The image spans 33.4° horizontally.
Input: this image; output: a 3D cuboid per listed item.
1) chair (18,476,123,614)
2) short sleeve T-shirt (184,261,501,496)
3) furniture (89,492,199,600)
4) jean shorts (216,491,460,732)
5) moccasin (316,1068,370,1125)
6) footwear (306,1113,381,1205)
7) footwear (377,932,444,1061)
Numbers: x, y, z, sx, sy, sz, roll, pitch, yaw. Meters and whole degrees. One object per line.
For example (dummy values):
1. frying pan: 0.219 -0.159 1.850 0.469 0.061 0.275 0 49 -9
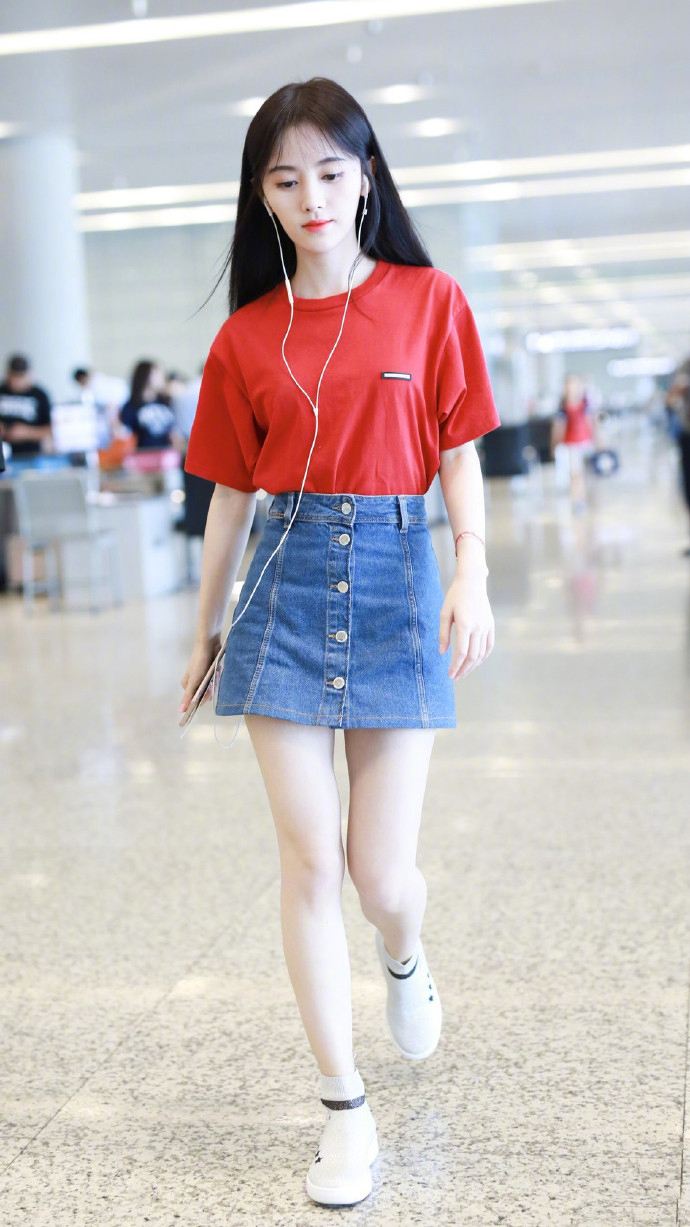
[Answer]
1. chair: -1.874 -0.504 7.808 0.632 0.949 1.074 -4 5 -12
2. short sleeve T-shirt: -0.010 -0.284 1.465 0.397 0.322 0.160 -5 2 8
3. furniture: -1.438 -0.450 8.389 0.600 0.777 1.139 -2 -1 10
4. jean shorts: -0.008 0.002 1.413 0.302 0.298 0.171 4 0 5
5. moccasin: 0.003 0.606 1.468 0.048 0.075 0.076 -17 -6 3
6. footwear: -0.002 0.663 1.402 0.052 0.056 0.129 -2 -2 8
7. footwear: 0.110 0.580 1.718 0.072 0.212 0.082 -9 14 16
